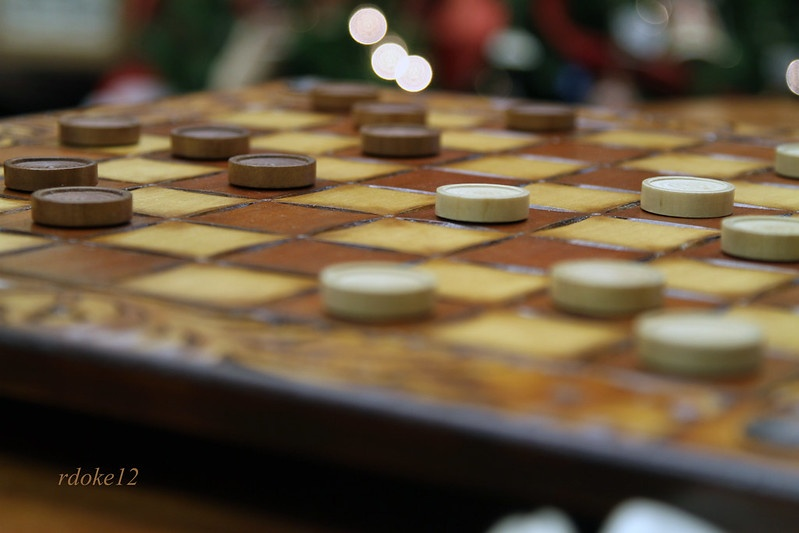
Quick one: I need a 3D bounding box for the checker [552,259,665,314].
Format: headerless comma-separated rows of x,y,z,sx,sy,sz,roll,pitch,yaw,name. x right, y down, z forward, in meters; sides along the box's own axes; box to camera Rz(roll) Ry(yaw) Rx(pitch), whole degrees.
0.251,0.033,0.821,0.111,0.022,0.096,4,7,29,checker

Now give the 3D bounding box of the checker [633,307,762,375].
0.312,0.071,0.707,0.121,0.033,0.139,9,24,25,checker

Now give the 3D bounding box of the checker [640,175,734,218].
0.499,-0.128,1.197,0.153,0.035,0.130,14,31,28,checker
